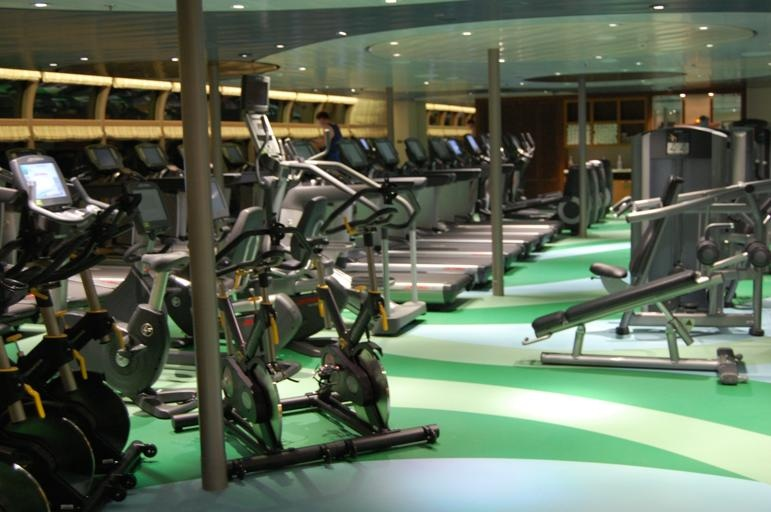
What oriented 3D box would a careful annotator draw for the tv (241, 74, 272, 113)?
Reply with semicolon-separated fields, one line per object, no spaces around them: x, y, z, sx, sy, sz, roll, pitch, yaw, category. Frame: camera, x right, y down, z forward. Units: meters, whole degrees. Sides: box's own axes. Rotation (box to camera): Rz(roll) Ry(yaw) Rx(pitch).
-1.340;-1.666;6.030;0.079;0.346;0.378;15;19;26;tv

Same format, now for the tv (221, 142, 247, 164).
-2.304;-1.549;8.856;0.256;0.308;0.637;-6;12;-15;tv

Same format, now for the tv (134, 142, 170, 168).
-3.335;-1.415;8.364;0.402;0.358;0.478;-6;12;-17;tv

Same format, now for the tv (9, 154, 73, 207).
-2.072;-0.445;3.535;0.227;0.321;0.503;-6;12;-15;tv

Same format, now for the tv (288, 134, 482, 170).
-0.022;-1.229;8.006;2.474;0.674;0.874;-2;16;12;tv
